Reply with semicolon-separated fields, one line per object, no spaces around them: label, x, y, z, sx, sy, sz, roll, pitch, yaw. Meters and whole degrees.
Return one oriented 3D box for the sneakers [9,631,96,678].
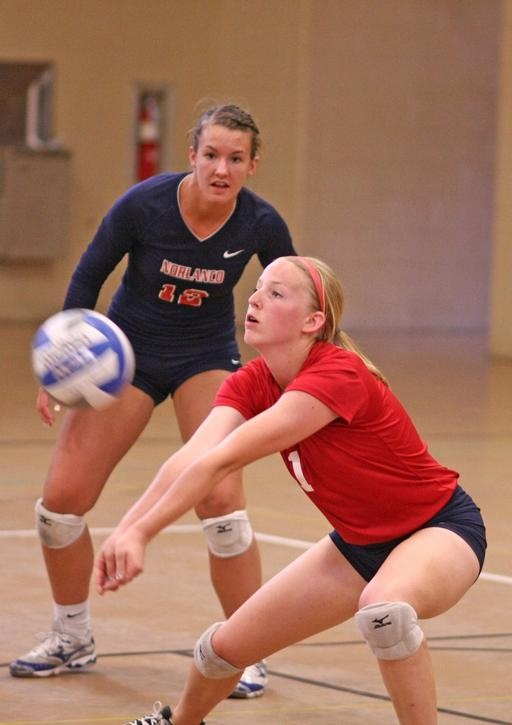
sneakers;-0.536;0.756;2.005;0.237;0.095;0.081;3;-12;-35

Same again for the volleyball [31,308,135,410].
volleyball;-0.380;-0.006;1.691;0.246;0.191;0.122;-5;-17;5

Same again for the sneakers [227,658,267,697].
sneakers;-0.012;0.782;1.931;0.114;0.054;0.166;-1;-13;-3
